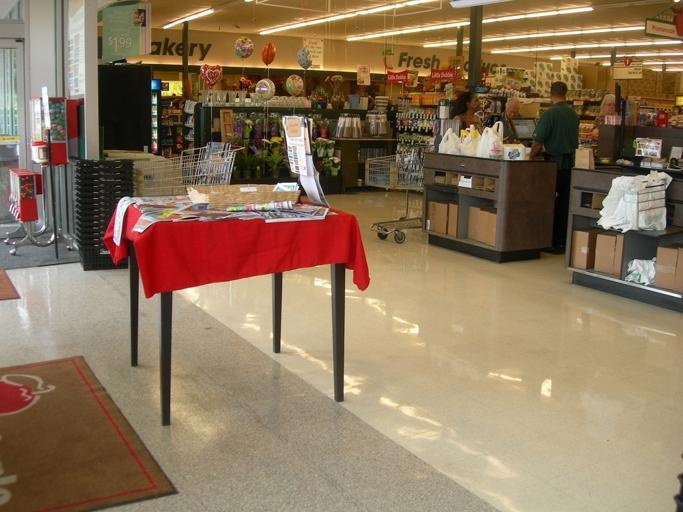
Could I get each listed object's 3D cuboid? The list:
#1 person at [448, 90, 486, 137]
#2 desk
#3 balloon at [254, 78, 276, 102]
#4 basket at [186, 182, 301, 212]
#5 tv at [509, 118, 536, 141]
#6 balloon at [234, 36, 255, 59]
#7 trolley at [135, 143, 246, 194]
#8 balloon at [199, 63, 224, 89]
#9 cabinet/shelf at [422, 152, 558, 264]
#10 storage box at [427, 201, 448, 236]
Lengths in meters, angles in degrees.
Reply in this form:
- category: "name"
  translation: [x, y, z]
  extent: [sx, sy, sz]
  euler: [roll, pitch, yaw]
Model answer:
- category: "person"
  translation: [1.982, -2.289, 8.278]
  extent: [0.543, 0.654, 1.174]
  euler: [4, 15, 11]
- category: "desk"
  translation: [0.392, -1.939, 11.179]
  extent: [1.622, 1.381, 0.531]
  euler: [-8, 15, -31]
- category: "balloon"
  translation: [-1.641, -3.627, 11.407]
  extent: [0.335, 0.477, 0.499]
  euler: [-11, 19, -40]
- category: "basket"
  translation: [-0.623, -0.392, 3.392]
  extent: [0.517, 0.118, 0.310]
  euler: [-2, 6, -8]
- category: "tv"
  translation: [2.783, -1.956, 8.087]
  extent: [0.508, 0.355, 0.050]
  euler: [-13, -9, -37]
- category: "balloon"
  translation: [-2.407, -5.166, 12.908]
  extent: [0.351, 0.524, 0.829]
  euler: [-2, 15, -14]
- category: "trolley"
  translation: [-2.168, -1.167, 6.945]
  extent: [1.118, 0.727, 3.357]
  euler: [-4, 16, -21]
- category: "balloon"
  translation: [-3.045, -4.222, 12.322]
  extent: [0.407, 0.541, 1.117]
  euler: [-1, 15, -10]
- category: "cabinet/shelf"
  translation: [1.964, -0.701, 7.208]
  extent: [1.614, 1.336, 0.837]
  euler: [14, 19, 41]
- category: "storage box"
  translation: [1.379, -0.538, 7.474]
  extent: [0.269, 0.491, 0.450]
  euler: [-2, 7, -15]
